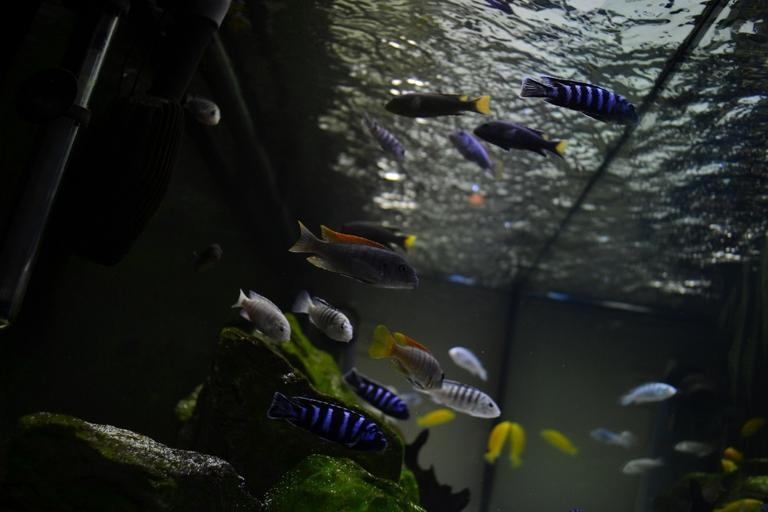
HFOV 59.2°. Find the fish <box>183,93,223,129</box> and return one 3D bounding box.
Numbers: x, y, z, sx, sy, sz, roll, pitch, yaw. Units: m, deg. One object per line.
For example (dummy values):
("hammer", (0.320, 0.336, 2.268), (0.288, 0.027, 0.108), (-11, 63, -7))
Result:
("fish", (-1.664, -1.353, 6.165), (0.311, 0.243, 0.463), (16, -9, -15))
